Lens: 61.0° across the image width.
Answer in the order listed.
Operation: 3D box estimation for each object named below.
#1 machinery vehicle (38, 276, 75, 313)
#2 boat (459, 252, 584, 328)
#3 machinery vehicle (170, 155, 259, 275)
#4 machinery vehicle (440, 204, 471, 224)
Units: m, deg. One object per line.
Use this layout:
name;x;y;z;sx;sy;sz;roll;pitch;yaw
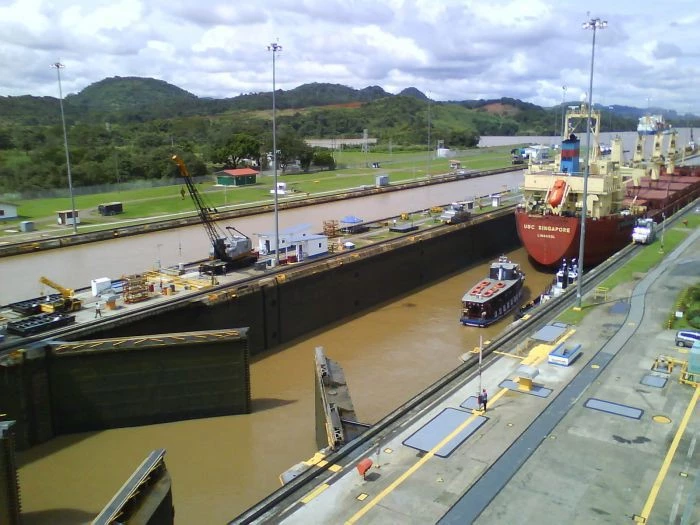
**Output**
machinery vehicle;-22.842;2.401;46.576;3.156;2.516;2.232;-1;11;-32
boat;18.331;2.109;60.922;5.070;5.330;18.974;1;15;45
machinery vehicle;-14.204;-5.884;63.069;5.292;11.466;20.156;-10;13;-11
machinery vehicle;14.387;-6.519;79.933;2.066;2.511;6.456;14;19;42
